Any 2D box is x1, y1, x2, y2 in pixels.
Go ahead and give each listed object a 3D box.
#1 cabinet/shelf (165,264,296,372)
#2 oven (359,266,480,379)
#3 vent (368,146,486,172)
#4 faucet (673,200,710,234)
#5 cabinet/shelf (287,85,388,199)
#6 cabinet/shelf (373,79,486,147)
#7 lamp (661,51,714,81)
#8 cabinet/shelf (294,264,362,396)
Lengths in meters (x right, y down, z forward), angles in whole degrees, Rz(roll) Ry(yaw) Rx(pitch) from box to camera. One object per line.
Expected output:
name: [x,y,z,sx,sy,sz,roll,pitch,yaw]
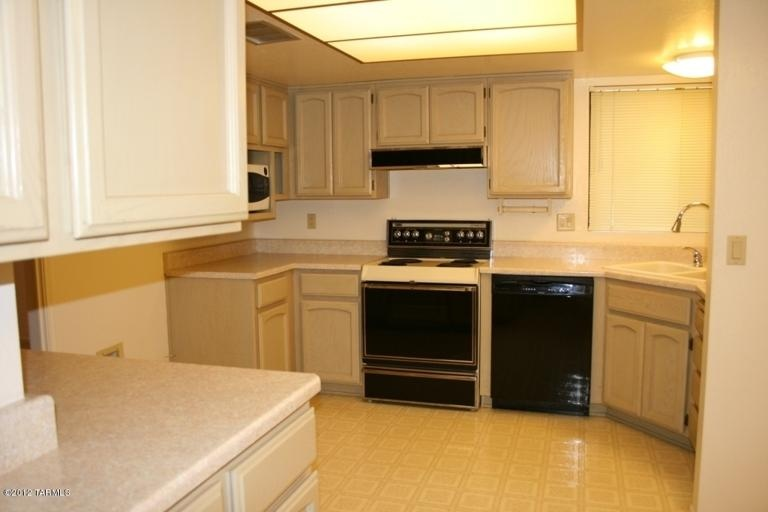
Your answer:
cabinet/shelf: [-1.109,0.532,4.176,0.702,0.856,0.552,4,5,12]
oven: [0.349,0.461,4.217,0.994,0.799,0.501,-1,-1,34]
vent: [0.311,-0.736,4.232,0.847,0.159,0.196,3,12,20]
faucet: [2.086,-0.253,3.858,0.202,0.272,0.706,5,12,28]
cabinet/shelf: [-0.351,-0.923,4.439,0.968,0.990,0.512,1,5,18]
cabinet/shelf: [0.399,-1.079,4.338,0.941,0.478,0.300,5,15,27]
lamp: [1.948,-1.227,3.615,0.270,0.132,0.341,3,11,21]
cabinet/shelf: [-0.549,0.626,4.439,0.615,0.976,0.636,11,-18,-40]
